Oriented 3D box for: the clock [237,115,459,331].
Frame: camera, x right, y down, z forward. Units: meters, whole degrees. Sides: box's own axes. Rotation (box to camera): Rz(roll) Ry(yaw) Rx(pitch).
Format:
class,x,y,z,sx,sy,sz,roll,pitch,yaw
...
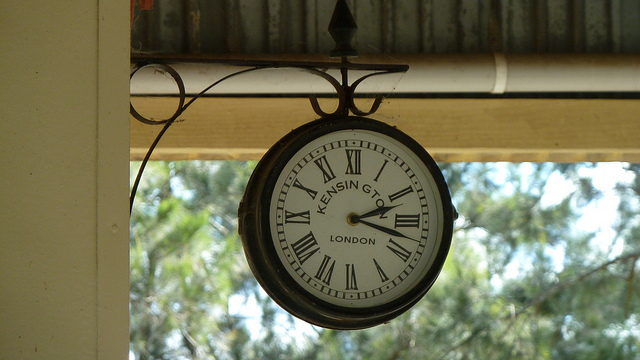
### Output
class,x,y,z,sx,sy,sz,roll,pitch,yaw
clock,0.180,0.294,10.210,1.349,0.733,1.263,-32,-65,15
